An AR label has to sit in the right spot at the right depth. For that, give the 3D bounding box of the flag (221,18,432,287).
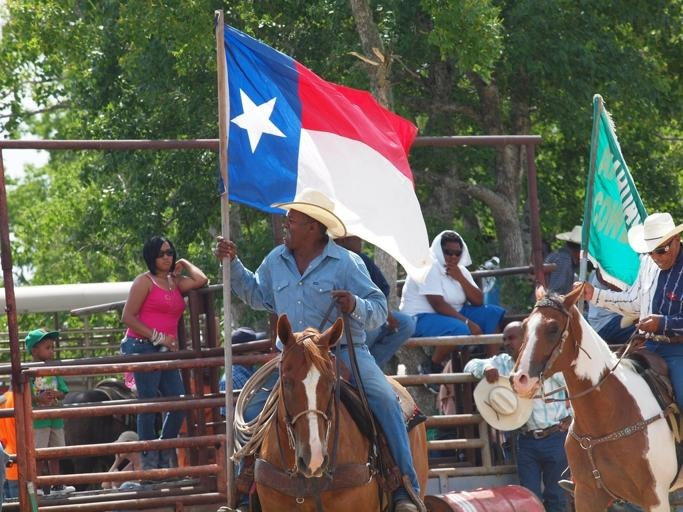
[{"bbox_3d":[-0.329,-1.983,32.375,4.709,3.909,0.690,26,-38,-34],"label":"flag"}]

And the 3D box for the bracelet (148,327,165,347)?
[{"bbox_3d":[-3.260,1.426,31.350,0.165,0.269,0.237,-4,-4,-43],"label":"bracelet"}]

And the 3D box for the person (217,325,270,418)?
[{"bbox_3d":[-1.776,2.259,33.495,1.401,1.798,0.545,12,25,28],"label":"person"}]

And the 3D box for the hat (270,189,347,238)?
[{"bbox_3d":[-0.362,-0.711,29.155,0.730,0.369,0.897,11,-21,47],"label":"hat"}]

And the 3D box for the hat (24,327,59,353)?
[{"bbox_3d":[-5.547,1.538,32.734,0.524,0.305,0.371,-24,-4,14],"label":"hat"}]
